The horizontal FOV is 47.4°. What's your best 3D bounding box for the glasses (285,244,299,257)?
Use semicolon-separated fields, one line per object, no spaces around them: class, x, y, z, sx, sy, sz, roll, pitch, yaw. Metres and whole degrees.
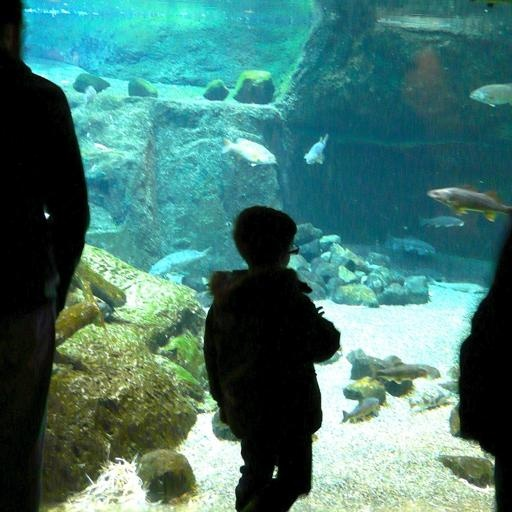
glasses;0.185;-0.018;2.928;0.061;0.071;0.020;0;14;-2

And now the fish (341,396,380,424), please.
fish;1.214;1.723;6.517;0.180;0.290;0.582;-1;9;44
